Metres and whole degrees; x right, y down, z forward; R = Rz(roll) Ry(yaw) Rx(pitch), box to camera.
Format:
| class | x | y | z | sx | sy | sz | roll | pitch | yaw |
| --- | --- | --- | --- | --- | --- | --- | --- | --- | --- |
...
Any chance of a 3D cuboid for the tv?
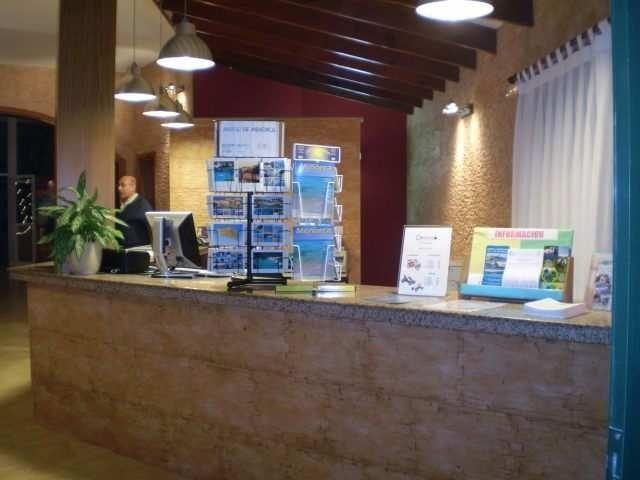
| class | x | y | z | sx | sy | sz | roll | pitch | yaw |
| --- | --- | --- | --- | --- | --- | --- | --- | --- | --- |
| tv | -1.137 | 0.044 | 4.268 | 0.493 | 0.512 | 0.263 | 2 | 10 | 32 |

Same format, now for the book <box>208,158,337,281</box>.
| class | x | y | z | sx | sy | sz | roll | pitch | yaw |
| --- | --- | --- | --- | --- | --- | --- | --- | --- | --- |
| book | -0.311 | -0.130 | 3.846 | 0.819 | 0.804 | 0.329 | 1 | 2 | 9 |

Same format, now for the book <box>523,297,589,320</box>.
| class | x | y | z | sx | sy | sz | roll | pitch | yaw |
| --- | --- | --- | --- | --- | --- | --- | --- | --- | --- |
| book | 1.237 | 0.360 | 2.955 | 0.243 | 0.101 | 0.351 | -3 | 11 | 44 |

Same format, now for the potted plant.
| class | x | y | z | sx | sy | sz | roll | pitch | yaw |
| --- | --- | --- | --- | --- | --- | --- | --- | --- | --- |
| potted plant | -1.886 | -0.093 | 4.431 | 0.848 | 0.894 | 0.783 | 1 | 4 | -26 |
